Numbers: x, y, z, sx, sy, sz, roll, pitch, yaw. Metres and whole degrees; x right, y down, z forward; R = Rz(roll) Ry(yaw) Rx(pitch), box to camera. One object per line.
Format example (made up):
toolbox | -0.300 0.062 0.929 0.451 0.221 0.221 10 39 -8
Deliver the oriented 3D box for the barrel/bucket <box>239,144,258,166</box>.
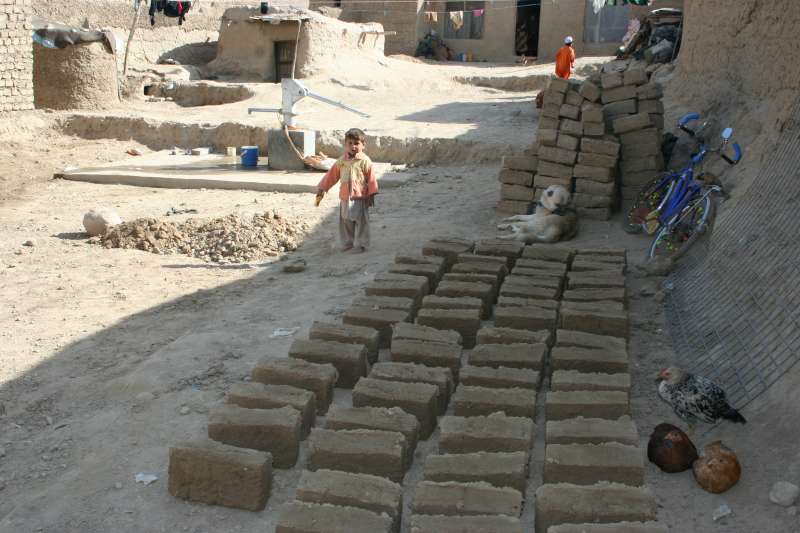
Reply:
barrel/bucket | -2.930 -2.184 13.863 0.487 0.437 0.469 0 10 0

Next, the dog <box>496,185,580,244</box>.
dog | 1.810 -0.652 8.992 0.742 0.685 1.155 2 48 8

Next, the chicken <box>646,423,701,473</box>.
chicken | 2.047 1.373 5.265 0.336 0.288 0.270 17 26 35

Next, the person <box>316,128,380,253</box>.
person | -0.661 -0.928 8.653 0.736 1.528 0.537 0 23 -6

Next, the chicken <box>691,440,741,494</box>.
chicken | 2.306 1.467 5.075 0.283 0.274 0.280 -15 27 -38
